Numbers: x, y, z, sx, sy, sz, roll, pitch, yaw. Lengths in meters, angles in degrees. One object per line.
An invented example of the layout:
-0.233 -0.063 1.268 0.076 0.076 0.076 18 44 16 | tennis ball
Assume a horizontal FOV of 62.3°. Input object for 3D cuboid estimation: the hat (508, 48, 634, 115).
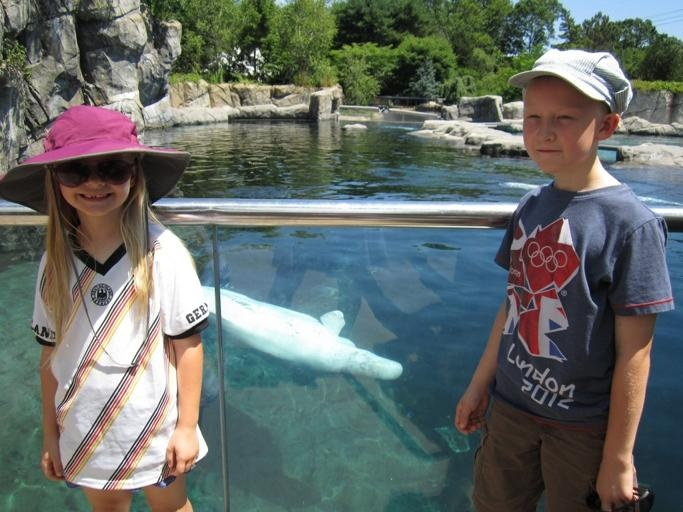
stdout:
0.745 -0.562 1.832 0.375 0.213 0.224 3 15 18 | hat
